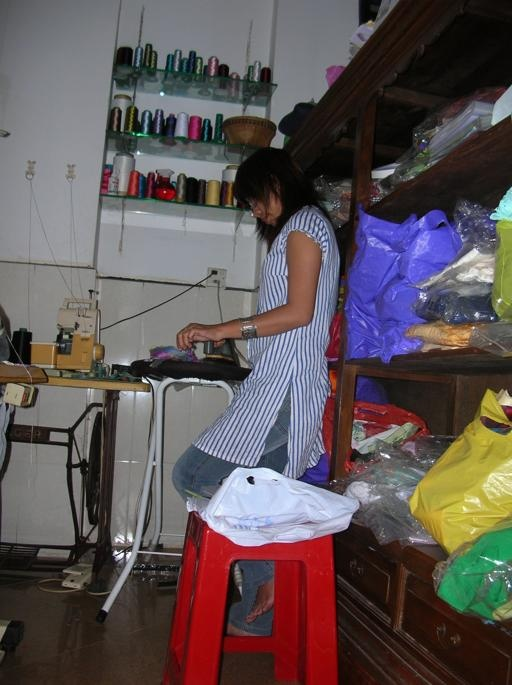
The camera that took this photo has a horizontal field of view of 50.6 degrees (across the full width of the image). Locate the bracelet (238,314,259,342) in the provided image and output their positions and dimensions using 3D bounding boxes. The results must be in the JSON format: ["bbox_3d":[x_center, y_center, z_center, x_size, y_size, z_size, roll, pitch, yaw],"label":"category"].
[{"bbox_3d":[-0.018,-0.032,1.253,0.038,0.048,0.018,1,15,10],"label":"bracelet"}]

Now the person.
[{"bbox_3d":[0.191,0.114,2.383,0.821,2.366,0.761,1,-10,7],"label":"person"}]

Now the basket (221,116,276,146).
[{"bbox_3d":[-0.039,-1.017,2.632,0.254,0.082,0.192,5,-3,-4],"label":"basket"}]
